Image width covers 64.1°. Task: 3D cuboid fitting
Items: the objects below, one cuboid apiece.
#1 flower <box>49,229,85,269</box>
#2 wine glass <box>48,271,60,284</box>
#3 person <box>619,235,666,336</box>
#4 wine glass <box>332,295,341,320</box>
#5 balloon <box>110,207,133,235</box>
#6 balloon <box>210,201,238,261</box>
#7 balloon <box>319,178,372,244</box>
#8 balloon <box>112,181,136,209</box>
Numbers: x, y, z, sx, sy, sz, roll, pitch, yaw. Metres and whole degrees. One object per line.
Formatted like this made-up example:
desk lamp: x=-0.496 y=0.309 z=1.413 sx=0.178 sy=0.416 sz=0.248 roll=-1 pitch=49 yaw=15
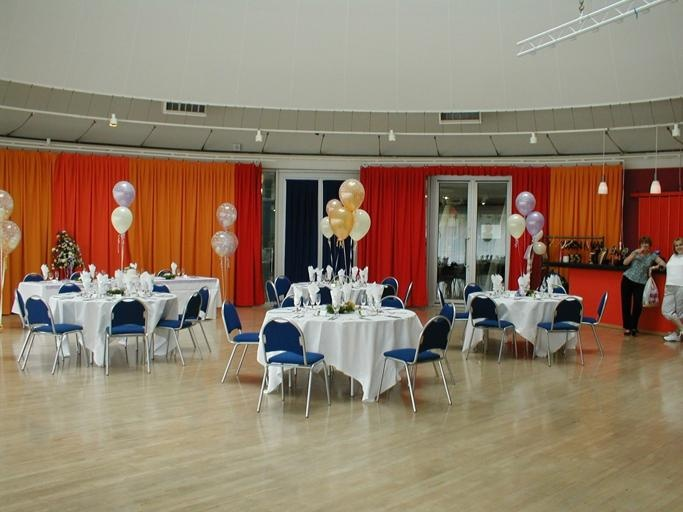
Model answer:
flower: x=-6.184 y=-0.121 z=12.269 sx=0.627 sy=0.913 sz=0.620 roll=-3 pitch=7 yaw=-33
wine glass: x=-5.621 y=0.421 z=10.638 sx=0.194 sy=0.358 sz=0.188 roll=-1 pitch=3 yaw=-25
person: x=5.770 y=0.589 z=10.558 sx=0.648 sy=1.911 sz=0.548 roll=4 pitch=6 yaw=31
wine glass: x=-0.070 y=0.619 z=7.108 sx=0.114 sy=0.248 sz=0.239 roll=0 pitch=6 yaw=0
balloon: x=-4.306 y=-0.712 z=10.636 sx=0.367 sy=0.502 sz=0.312 roll=6 pitch=8 yaw=44
balloon: x=-2.567 y=-0.490 z=12.044 sx=0.538 sy=1.605 sz=0.587 roll=9 pitch=-24 yaw=-22
balloon: x=0.104 y=-0.755 z=9.102 sx=0.815 sy=0.668 sz=1.537 roll=-12 pitch=5 yaw=-8
balloon: x=-4.419 y=-1.240 z=10.972 sx=0.363 sy=0.516 sz=0.569 roll=1 pitch=6 yaw=2
